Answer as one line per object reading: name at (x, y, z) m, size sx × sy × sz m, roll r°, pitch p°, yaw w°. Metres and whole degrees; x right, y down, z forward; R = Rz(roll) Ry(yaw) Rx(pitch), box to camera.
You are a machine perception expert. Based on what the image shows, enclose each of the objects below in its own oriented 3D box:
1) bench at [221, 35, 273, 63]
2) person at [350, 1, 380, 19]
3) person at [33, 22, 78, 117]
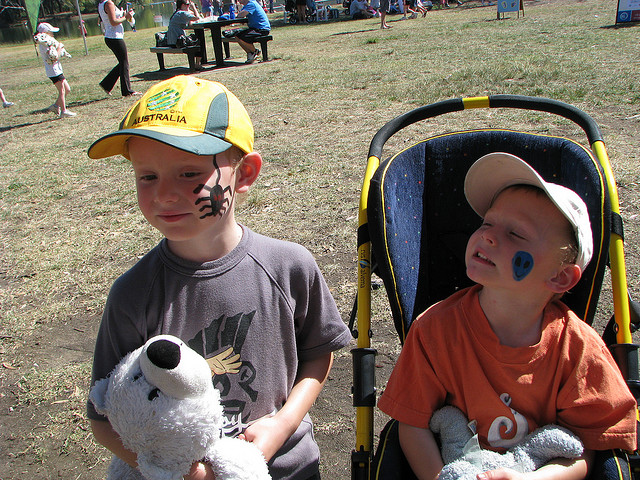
bench at (-1.727, -4.431, 13.279) m, size 0.712 × 0.509 × 2.914 m, roll -16°, pitch 25°, yaw -20°
person at (1.702, -8.732, 21.855) m, size 1.025 × 0.656 × 0.694 m, roll -5°, pitch 23°, yaw 5°
person at (-4.519, -2.954, 9.846) m, size 0.514 × 1.401 × 2.469 m, roll -14°, pitch 24°, yaw -20°
